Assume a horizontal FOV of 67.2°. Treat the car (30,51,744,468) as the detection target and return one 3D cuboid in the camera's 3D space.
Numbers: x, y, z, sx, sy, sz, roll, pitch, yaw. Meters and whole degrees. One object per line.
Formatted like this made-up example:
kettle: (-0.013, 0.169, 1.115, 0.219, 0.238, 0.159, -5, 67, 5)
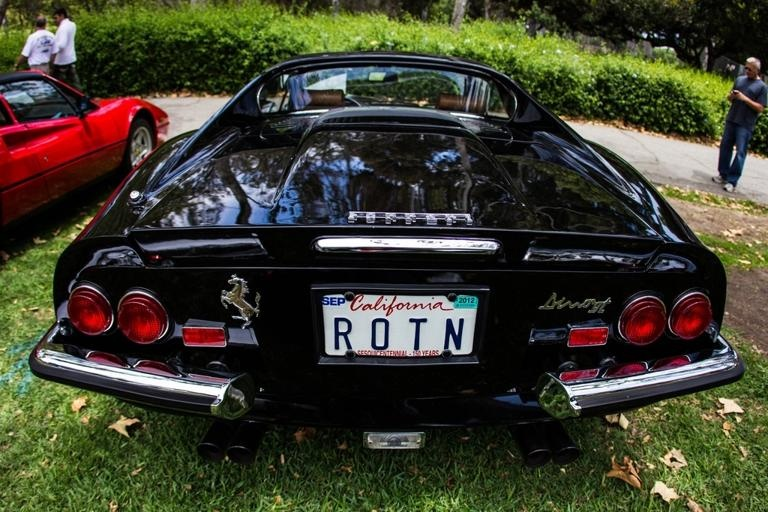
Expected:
car: (0.091, -0.209, 4.012, 4.248, 1.723, 2.564, 4, 34, -2)
